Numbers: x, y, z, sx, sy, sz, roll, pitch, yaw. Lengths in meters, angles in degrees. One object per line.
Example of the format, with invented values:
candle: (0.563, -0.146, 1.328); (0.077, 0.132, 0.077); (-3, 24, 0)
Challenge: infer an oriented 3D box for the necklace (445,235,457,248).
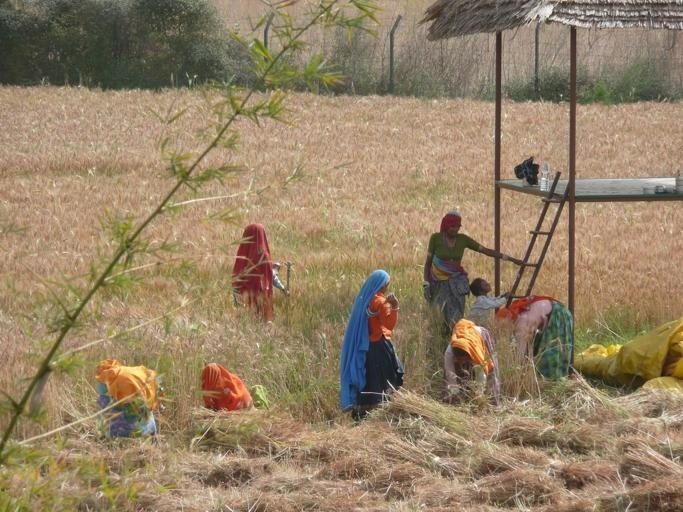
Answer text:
necklace: (2.222, -0.249, 33.570); (0.163, 0.218, 0.187); (3, -5, -17)

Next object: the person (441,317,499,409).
person: (2.607, 2.185, 32.421); (1.226, 1.906, 1.066); (-17, 31, -30)

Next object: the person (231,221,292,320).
person: (-1.709, 0.443, 34.382); (1.157, 2.982, 1.035); (7, 11, 24)

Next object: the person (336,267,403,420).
person: (0.556, 1.802, 32.210); (1.167, 2.896, 0.470); (0, 10, -1)

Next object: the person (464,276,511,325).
person: (2.944, 0.983, 33.144); (0.605, 1.109, 0.497); (0, 20, 8)

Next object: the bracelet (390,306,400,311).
bracelet: (1.046, 1.057, 32.115); (0.173, 0.114, 0.071); (-12, 16, -43)
